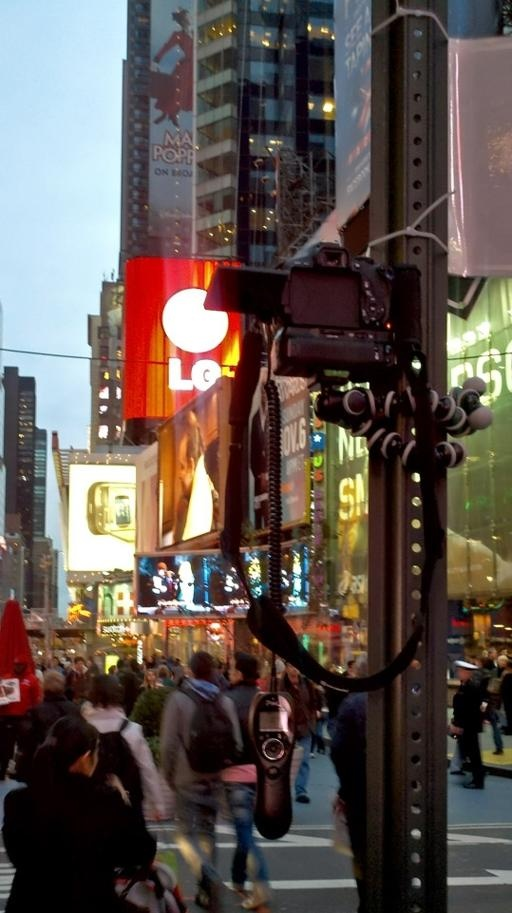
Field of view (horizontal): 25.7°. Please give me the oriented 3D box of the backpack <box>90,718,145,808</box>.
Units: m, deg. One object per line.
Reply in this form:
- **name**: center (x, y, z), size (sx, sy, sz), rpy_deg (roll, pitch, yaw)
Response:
- **backpack**: center (-0.684, 1.520, 5.584), size (0.155, 0.176, 0.598), rpy_deg (5, 25, -17)

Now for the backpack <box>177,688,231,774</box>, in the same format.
- **backpack**: center (-0.299, 1.762, 7.178), size (0.285, 0.459, 0.461), rpy_deg (3, -12, -15)
